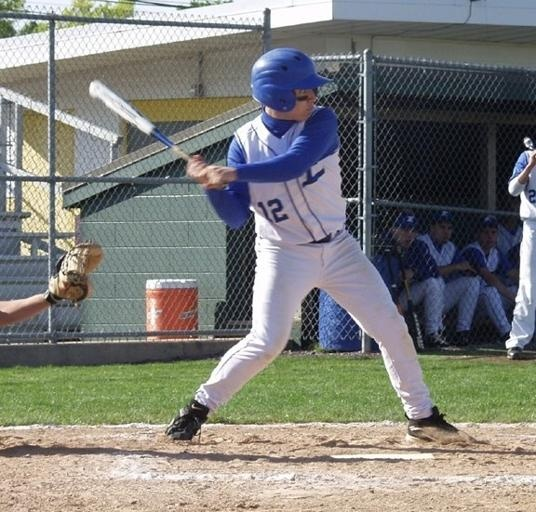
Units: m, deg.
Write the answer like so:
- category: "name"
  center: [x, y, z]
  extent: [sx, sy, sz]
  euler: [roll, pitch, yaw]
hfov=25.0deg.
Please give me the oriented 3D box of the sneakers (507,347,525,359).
- category: "sneakers"
  center: [2.091, 0.820, 10.171]
  extent: [0.072, 0.093, 0.202]
  euler: [0, -11, 3]

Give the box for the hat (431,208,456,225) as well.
- category: "hat"
  center: [1.636, -0.362, 11.380]
  extent: [0.137, 0.139, 0.170]
  euler: [5, 8, 22]

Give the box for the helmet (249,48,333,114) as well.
- category: "helmet"
  center: [0.131, -1.020, 6.982]
  extent: [0.437, 0.296, 0.309]
  euler: [-3, 8, 11]

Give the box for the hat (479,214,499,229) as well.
- category: "hat"
  center: [2.064, -0.309, 11.317]
  extent: [0.139, 0.142, 0.145]
  euler: [4, -2, 17]

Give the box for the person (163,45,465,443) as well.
- category: "person"
  center: [0.212, -0.045, 7.113]
  extent: [1.526, 2.262, 0.592]
  euler: [1, 0, -12]

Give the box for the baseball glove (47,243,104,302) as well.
- category: "baseball glove"
  center: [-1.155, 0.110, 7.084]
  extent: [0.148, 0.387, 0.230]
  euler: [21, -26, 32]

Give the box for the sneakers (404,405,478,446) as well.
- category: "sneakers"
  center: [1.027, 1.054, 7.357]
  extent: [0.483, 0.244, 0.173]
  euler: [0, -1, 0]

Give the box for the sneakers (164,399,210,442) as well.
- category: "sneakers"
  center: [-0.486, 1.013, 7.330]
  extent: [0.082, 0.230, 0.115]
  euler: [42, -2, -32]

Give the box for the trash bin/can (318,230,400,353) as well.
- category: "trash bin/can"
  center: [0.667, 0.420, 10.621]
  extent: [0.755, 0.886, 0.778]
  euler: [0, -4, -10]

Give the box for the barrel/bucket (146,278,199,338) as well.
- category: "barrel/bucket"
  center: [-0.835, 0.501, 11.317]
  extent: [0.492, 0.553, 0.516]
  euler: [0, -2, 0]
